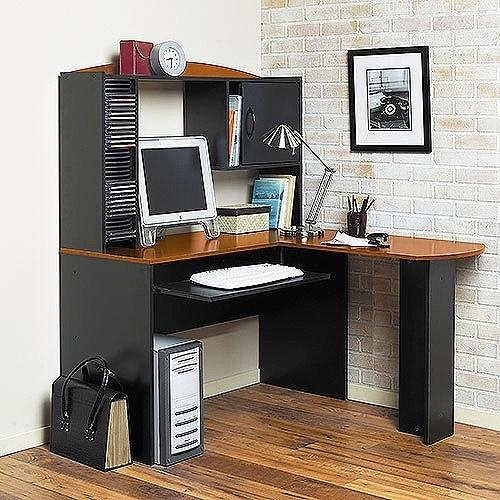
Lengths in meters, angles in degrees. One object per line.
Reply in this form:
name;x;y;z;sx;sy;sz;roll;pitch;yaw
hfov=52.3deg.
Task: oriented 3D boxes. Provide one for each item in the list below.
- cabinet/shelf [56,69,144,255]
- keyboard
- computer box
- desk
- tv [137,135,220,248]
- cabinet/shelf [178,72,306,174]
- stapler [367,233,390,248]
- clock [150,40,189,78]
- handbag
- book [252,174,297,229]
cabinet/shelf;-0.614;-0.351;2.051;0.288;0.696;0.218;8;15;34
keyboard;0.000;0.095;2.066;0.272;0.047;0.463;11;16;44
computer box;-0.285;0.576;1.961;0.144;0.464;0.230;7;14;31
desk;0.018;0.255;2.190;1.270;0.690;1.206;3;4;43
tv;-0.328;-0.267;2.291;0.572;0.562;0.070;-8;4;-44
cabinet/shelf;0.030;-0.608;2.722;0.488;0.321;0.174;-4;19;-17
stapler;0.571;-0.043;2.261;0.044;0.043;0.130;-2;6;-22
clock;-0.337;-0.819;2.203;0.086;0.152;0.171;10;16;40
handbag;-0.581;0.621;1.912;0.462;0.456;0.202;2;0;41
book;0.146;-0.269;2.828;0.295;0.269;0.070;7;2;39
